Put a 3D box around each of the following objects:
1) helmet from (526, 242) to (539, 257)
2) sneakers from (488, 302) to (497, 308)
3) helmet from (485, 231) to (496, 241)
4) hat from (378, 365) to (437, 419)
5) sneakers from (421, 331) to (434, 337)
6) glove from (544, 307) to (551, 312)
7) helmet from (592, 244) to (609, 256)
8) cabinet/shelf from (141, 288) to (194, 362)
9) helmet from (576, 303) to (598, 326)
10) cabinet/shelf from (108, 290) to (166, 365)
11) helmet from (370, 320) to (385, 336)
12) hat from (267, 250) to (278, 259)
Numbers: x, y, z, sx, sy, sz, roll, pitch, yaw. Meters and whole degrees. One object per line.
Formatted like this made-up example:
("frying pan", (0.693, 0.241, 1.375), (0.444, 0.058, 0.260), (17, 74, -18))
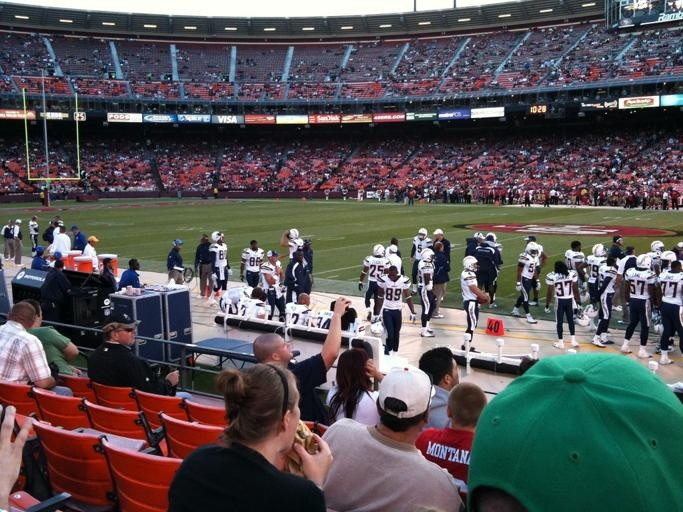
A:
("helmet", (4.264, -0.183, 13.142), (0.272, 0.307, 0.307), (2, 48, 13))
("sneakers", (3.696, 1.227, 14.450), (0.080, 0.087, 0.218), (7, 12, 38))
("helmet", (3.675, -0.436, 14.516), (0.228, 0.259, 0.254), (-4, 25, 16))
("hat", (0.381, 0.696, 3.188), (0.296, 0.197, 0.425), (3, 9, 32))
("sneakers", (1.757, 1.631, 12.151), (0.270, 0.099, 0.091), (-1, 5, 10))
("glove", (4.865, 1.295, 13.965), (0.084, 0.102, 0.260), (12, 20, 41))
("helmet", (5.832, -0.132, 13.346), (0.259, 0.265, 0.409), (3, 1, 24))
("cabinet/shelf", (-3.077, 1.178, 10.150), (0.739, 1.123, 0.685), (-2, 2, 19))
("helmet", (5.221, 1.302, 12.571), (0.386, 0.321, 0.620), (0, 5, 13))
("cabinet/shelf", (-3.366, 1.184, 9.766), (0.948, 1.173, 0.938), (6, 12, 27))
("helmet", (0.761, 1.549, 12.436), (0.273, 0.242, 0.214), (0, -2, -34))
("hat", (-1.920, -0.041, 16.065), (0.419, 0.150, 0.270), (3, 8, 35))
